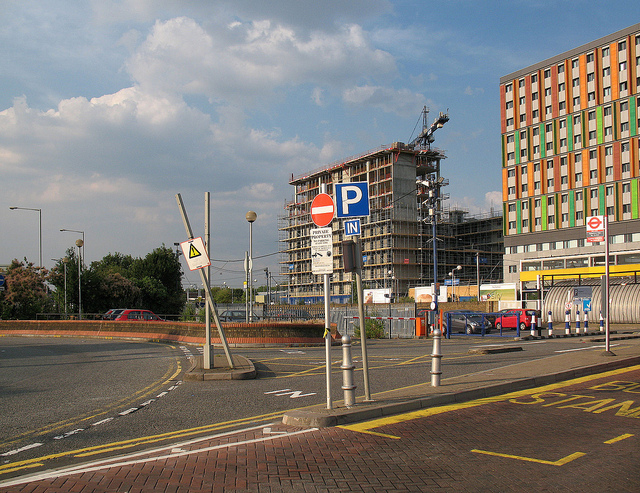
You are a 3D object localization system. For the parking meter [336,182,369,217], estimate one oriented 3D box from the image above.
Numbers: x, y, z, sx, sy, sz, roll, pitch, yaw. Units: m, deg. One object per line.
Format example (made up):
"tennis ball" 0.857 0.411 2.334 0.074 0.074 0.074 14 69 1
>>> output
"parking meter" 0.796 -1.206 20.513 0.845 0.901 0.094 -1 28 5

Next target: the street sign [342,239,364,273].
"street sign" 0.660 0.215 20.333 0.623 0.982 0.680 -2 1 25

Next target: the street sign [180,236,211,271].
"street sign" -3.386 0.190 22.402 0.799 0.628 0.093 -24 -4 15

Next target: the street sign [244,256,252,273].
"street sign" -2.633 0.587 29.860 0.469 0.692 0.256 0 2 5

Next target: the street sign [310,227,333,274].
"street sign" 0.027 0.074 20.099 0.479 1.132 0.425 -2 -4 0

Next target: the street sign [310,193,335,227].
"street sign" 0.034 -0.940 20.293 0.692 0.858 0.425 -4 -5 26

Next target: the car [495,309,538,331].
"car" 11.573 4.279 48.639 1.742 1.209 3.228 -1 -5 -9

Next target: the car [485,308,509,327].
"car" 10.976 4.291 51.649 1.964 1.017 1.350 -3 -6 18

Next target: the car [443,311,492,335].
"car" 7.987 4.108 44.905 2.224 1.060 1.387 -9 -11 39

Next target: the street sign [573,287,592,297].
"street sign" 16.877 2.845 52.693 0.425 0.666 1.644 -1 -5 -20

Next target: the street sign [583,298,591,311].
"street sign" 16.881 3.601 51.853 0.475 0.811 0.680 -4 -5 26
